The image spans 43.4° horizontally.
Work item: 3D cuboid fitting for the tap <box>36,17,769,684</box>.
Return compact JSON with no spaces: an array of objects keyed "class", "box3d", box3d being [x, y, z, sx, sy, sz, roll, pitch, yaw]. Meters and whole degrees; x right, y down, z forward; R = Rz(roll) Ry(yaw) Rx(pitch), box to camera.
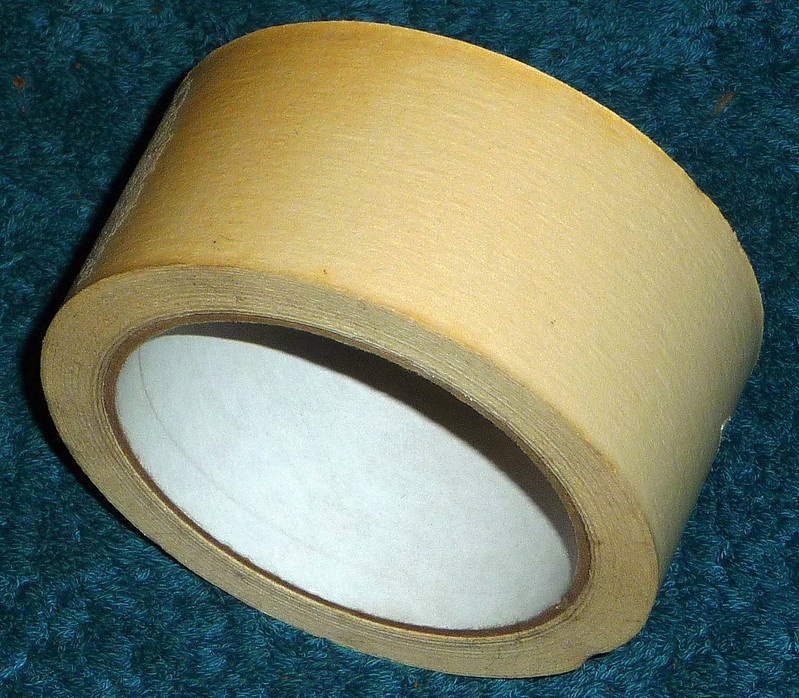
[{"class":"tap","box3d":[0.015,0.017,0.891,0.536,0.526,0.287,27,55,-2]}]
